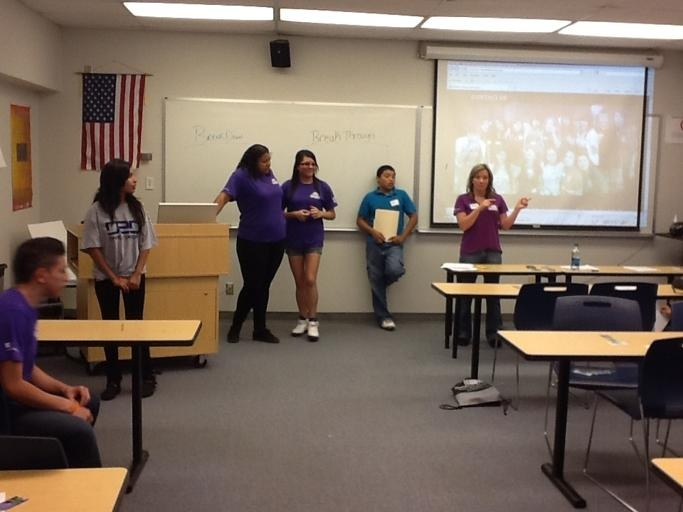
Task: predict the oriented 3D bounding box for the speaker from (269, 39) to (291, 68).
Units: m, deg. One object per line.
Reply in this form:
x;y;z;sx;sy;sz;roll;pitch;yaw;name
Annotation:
-0.677;-2.305;6.399;0.270;0.277;0.281;-8;31;-7;speaker

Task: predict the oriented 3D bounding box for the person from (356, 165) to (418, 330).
0.535;-0.152;6.633;0.624;1.814;0.659;9;13;39;person

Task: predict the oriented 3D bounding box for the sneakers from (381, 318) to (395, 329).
0.539;0.768;6.431;0.177;0.103;0.181;1;11;2;sneakers

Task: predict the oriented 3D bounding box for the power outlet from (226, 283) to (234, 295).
-1.300;0.374;6.614;0.117;0.174;0.017;0;2;-8;power outlet

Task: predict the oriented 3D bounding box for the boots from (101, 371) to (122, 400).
-1.781;1.021;4.422;0.086;0.161;0.249;3;-4;0;boots

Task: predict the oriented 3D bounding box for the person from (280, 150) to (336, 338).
-0.351;-0.130;6.032;0.545;1.968;0.519;7;12;33;person

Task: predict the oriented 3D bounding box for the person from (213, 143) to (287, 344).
-0.861;-0.102;5.614;0.646;1.972;0.378;-1;10;-9;person

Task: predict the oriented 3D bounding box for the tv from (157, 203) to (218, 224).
-1.359;-0.383;5.017;0.515;0.171;0.080;-2;11;-15;tv

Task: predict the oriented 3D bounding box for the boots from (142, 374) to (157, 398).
-1.533;1.043;4.529;0.086;0.150;0.145;4;-34;-14;boots

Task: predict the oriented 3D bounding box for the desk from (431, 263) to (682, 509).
1.764;0.722;4.496;2.059;0.925;2.824;3;12;9;desk

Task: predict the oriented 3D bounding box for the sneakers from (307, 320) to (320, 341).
-0.284;0.772;5.931;0.113;0.192;0.201;0;11;-4;sneakers

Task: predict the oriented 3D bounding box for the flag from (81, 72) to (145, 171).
-2.569;-1.523;6.398;0.717;1.092;0.174;1;10;0;flag

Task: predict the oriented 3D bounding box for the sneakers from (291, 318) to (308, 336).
-0.437;0.772;6.123;0.089;0.120;0.276;0;0;8;sneakers
